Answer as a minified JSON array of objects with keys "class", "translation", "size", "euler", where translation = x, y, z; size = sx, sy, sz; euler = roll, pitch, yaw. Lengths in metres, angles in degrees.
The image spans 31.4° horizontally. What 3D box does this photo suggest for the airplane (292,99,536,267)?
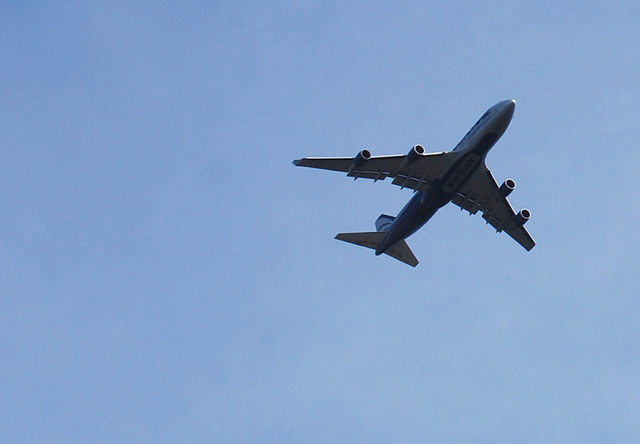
[{"class":"airplane","translation":[9.480,-1.771,99.385],"size":[16.530,10.951,17.420],"euler":[-7,-57,11]}]
